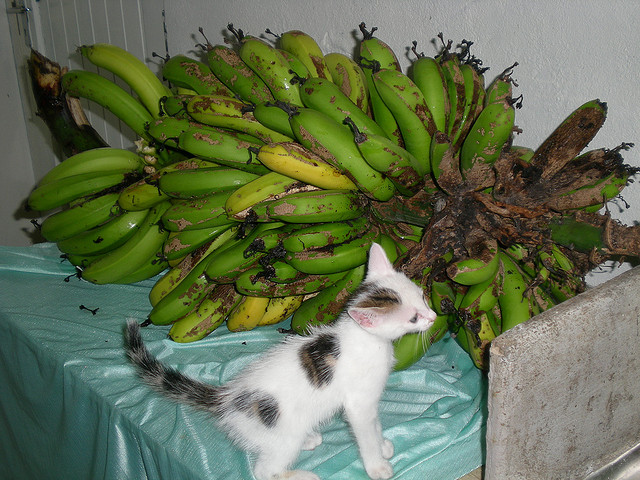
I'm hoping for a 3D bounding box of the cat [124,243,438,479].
[{"bbox_3d":[0.013,0.330,1.799,1.099,0.783,0.425,-11,10,-4],"label":"cat"}]

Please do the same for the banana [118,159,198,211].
[{"bbox_3d":[-0.585,-0.198,1.937,0.297,0.101,0.081,-22,55,-6],"label":"banana"}]

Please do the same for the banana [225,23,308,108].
[{"bbox_3d":[-0.175,-0.674,1.894,0.133,0.137,0.497,40,27,-31],"label":"banana"}]

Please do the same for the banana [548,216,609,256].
[{"bbox_3d":[0.752,-0.017,1.544,0.167,0.089,0.029,25,30,26],"label":"banana"}]

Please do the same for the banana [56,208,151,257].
[{"bbox_3d":[-0.938,-0.029,2.165,0.597,0.208,0.157,0,8,8],"label":"banana"}]

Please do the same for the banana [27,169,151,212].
[{"bbox_3d":[-0.973,-0.202,2.139,0.451,0.089,0.126,-25,81,-48],"label":"banana"}]

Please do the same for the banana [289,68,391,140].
[{"bbox_3d":[0.034,-0.410,1.739,0.364,0.086,0.110,40,22,-42],"label":"banana"}]

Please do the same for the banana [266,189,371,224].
[{"bbox_3d":[0.036,-0.130,1.717,0.398,0.111,0.120,-6,7,-11],"label":"banana"}]

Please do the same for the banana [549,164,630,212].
[{"bbox_3d":[0.791,-0.159,1.576,0.211,0.098,0.056,-26,44,16],"label":"banana"}]

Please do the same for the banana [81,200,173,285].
[{"bbox_3d":[-0.751,-0.003,2.063,0.183,0.278,0.084,21,24,-42],"label":"banana"}]

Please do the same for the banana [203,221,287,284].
[{"bbox_3d":[-0.242,0.045,1.779,0.246,0.082,0.068,-34,37,5],"label":"banana"}]

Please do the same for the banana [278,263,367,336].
[{"bbox_3d":[0.018,0.186,1.711,0.075,0.270,0.097,45,5,-26],"label":"banana"}]

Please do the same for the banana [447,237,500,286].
[{"bbox_3d":[0.467,0.072,1.573,0.187,0.119,0.090,-13,34,-39],"label":"banana"}]

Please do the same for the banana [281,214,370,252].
[{"bbox_3d":[-0.017,-0.010,1.756,0.096,0.129,0.391,13,-11,-43],"label":"banana"}]

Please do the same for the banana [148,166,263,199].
[{"bbox_3d":[-0.372,-0.193,1.799,0.352,0.117,0.079,-4,24,4],"label":"banana"}]

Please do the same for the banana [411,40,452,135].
[{"bbox_3d":[0.377,-0.536,1.767,0.083,0.116,0.342,15,2,32],"label":"banana"}]

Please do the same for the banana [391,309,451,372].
[{"bbox_3d":[0.328,0.349,1.790,0.086,0.258,0.143,23,38,-48],"label":"banana"}]

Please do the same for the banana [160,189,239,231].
[{"bbox_3d":[-0.416,-0.088,1.892,0.110,0.138,0.377,26,21,28],"label":"banana"}]

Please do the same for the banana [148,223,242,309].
[{"bbox_3d":[-0.442,0.093,1.930,0.399,0.106,0.089,-39,28,-20],"label":"banana"}]

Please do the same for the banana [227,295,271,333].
[{"bbox_3d":[-0.261,0.273,1.978,0.101,0.181,0.063,43,24,1],"label":"banana"}]

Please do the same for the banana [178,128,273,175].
[{"bbox_3d":[-0.304,-0.298,1.781,0.354,0.116,0.109,9,42,4],"label":"banana"}]

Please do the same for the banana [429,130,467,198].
[{"bbox_3d":[0.376,-0.208,1.621,0.076,0.243,0.085,-21,38,11],"label":"banana"}]

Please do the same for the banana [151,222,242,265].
[{"bbox_3d":[-0.441,-0.017,1.953,0.346,0.088,0.067,17,6,-37],"label":"banana"}]

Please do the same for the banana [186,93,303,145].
[{"bbox_3d":[-0.273,-0.403,1.827,0.436,0.115,0.087,3,28,-34],"label":"banana"}]

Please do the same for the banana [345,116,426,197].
[{"bbox_3d":[0.177,-0.244,1.620,0.143,0.132,0.490,11,-6,30],"label":"banana"}]

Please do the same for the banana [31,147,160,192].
[{"bbox_3d":[-0.909,-0.289,2.145,0.179,0.116,0.463,45,37,19],"label":"banana"}]

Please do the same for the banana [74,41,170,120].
[{"bbox_3d":[-0.759,-0.630,2.088,0.375,0.226,0.086,18,27,13],"label":"banana"}]

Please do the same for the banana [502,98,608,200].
[{"bbox_3d":[0.666,-0.258,1.536,0.204,0.317,0.092,7,26,-6],"label":"banana"}]

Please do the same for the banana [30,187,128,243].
[{"bbox_3d":[-0.944,-0.104,2.109,0.349,0.095,0.139,-22,29,4],"label":"banana"}]
